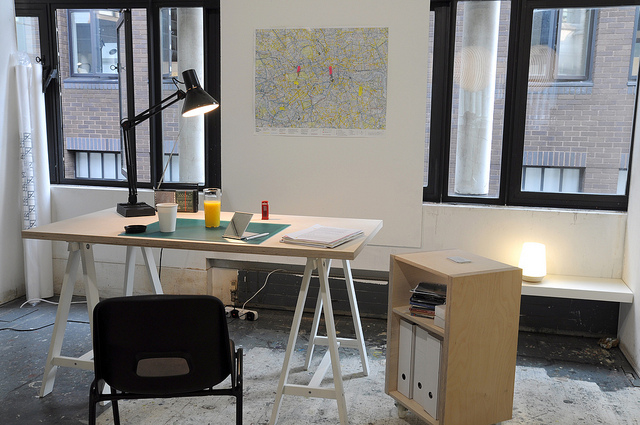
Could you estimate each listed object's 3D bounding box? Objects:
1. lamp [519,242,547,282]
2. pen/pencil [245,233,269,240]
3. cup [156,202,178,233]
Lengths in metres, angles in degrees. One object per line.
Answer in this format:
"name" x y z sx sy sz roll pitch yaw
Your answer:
"lamp" 1.757 0.416 4.116 0.207 0.309 0.166 6 14 21
"pen/pencil" -0.413 0.157 3.218 0.189 0.020 0.025 -5 55 -37
"cup" -1.003 0.049 3.376 0.185 0.174 0.171 -1 4 0
